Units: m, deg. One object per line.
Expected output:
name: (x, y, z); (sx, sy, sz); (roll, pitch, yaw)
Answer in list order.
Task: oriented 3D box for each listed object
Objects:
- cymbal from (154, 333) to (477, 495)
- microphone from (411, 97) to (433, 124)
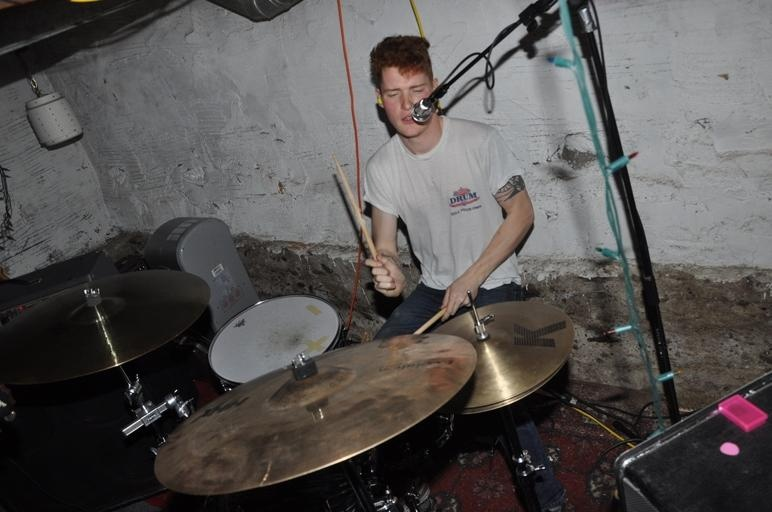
cymbal: (-0.269, 0.470, 1.935); (0.765, 0.186, 0.786); (-15, 10, 39)
microphone: (0.161, -0.613, 2.305); (0.088, 0.100, 0.120); (-7, 20, 7)
